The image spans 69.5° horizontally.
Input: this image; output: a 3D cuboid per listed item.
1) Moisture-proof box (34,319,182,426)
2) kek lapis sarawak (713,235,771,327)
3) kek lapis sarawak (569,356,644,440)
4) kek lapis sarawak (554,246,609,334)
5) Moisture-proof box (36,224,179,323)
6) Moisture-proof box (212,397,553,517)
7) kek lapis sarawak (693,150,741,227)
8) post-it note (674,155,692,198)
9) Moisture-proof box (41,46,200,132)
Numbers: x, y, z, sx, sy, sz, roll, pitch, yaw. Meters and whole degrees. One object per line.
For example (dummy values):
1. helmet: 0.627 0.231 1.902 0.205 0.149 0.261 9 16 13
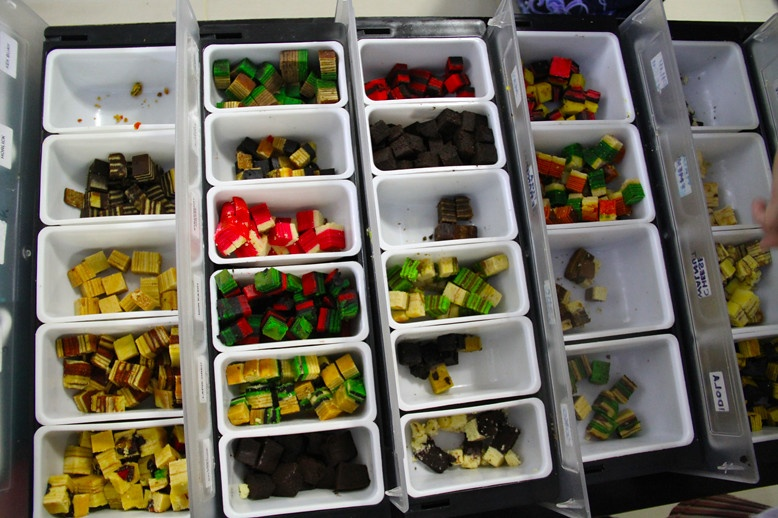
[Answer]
1. Moisture-proof box: -1.316 0.524 2.583 0.606 0.266 0.436 0 66 -9
2. kek lapis sarawak: 1.836 0.111 2.986 0.304 0.202 0.483 -5 96 5
3. kek lapis sarawak: 1.060 0.684 2.833 0.379 0.113 0.398 -14 83 -17
4. kek lapis sarawak: 0.976 0.160 2.865 0.317 0.111 0.457 2 89 -16
5. Moisture-proof box: -1.342 0.081 2.671 0.616 0.273 0.437 -2 66 -10
6. Moisture-proof box: 0.122 0.832 2.709 1.597 0.386 0.450 -4 88 -7
7. kek lapis sarawak: 1.714 -0.323 3.001 0.259 0.132 0.417 -3 78 1
8. post-it note: 1.400 -0.390 2.661 0.028 0.090 0.147 -2 85 -21
9. Moisture-proof box: -1.437 -0.847 2.843 0.650 0.232 0.424 -6 102 -7
